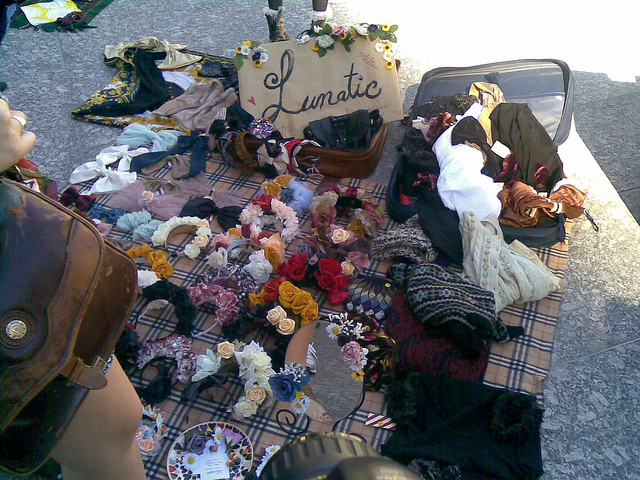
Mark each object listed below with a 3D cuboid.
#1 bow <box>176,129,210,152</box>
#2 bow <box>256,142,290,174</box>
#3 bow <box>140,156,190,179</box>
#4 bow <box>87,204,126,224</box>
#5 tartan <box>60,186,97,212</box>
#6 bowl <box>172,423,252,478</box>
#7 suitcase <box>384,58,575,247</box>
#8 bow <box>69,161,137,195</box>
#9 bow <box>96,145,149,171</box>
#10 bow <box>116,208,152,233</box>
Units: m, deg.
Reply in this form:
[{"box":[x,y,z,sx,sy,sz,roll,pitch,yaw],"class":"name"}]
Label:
[{"box":[-0.914,-0.708,3.511,0.217,0.054,0.162,20,52,11],"class":"bow"},{"box":[-0.315,-0.570,3.296,0.161,0.076,0.205,-6,53,-3],"class":"bow"},{"box":[-1.042,-0.547,3.346,0.230,0.098,0.216,29,36,34],"class":"bow"},{"box":[-1.327,-0.157,3.056,0.238,0.065,0.159,-13,62,-16],"class":"bow"},{"box":[-1.549,-0.257,3.161,0.192,0.067,0.152,31,83,-3],"class":"tartan"},{"box":[-0.498,0.983,2.270,0.357,0.056,0.245,-3,51,-8],"class":"bowl"},{"box":[1.122,-0.700,3.314,1.094,0.554,1.517,15,51,7],"class":"suitcase"},{"box":[-1.480,-0.422,3.319,0.302,0.054,0.268,29,52,23],"class":"bow"},{"box":[-1.405,-0.592,3.443,0.224,0.054,0.226,19,46,18],"class":"bow"},{"box":[-1.162,-0.119,3.068,0.153,0.076,0.150,-1,34,-5],"class":"bow"}]
